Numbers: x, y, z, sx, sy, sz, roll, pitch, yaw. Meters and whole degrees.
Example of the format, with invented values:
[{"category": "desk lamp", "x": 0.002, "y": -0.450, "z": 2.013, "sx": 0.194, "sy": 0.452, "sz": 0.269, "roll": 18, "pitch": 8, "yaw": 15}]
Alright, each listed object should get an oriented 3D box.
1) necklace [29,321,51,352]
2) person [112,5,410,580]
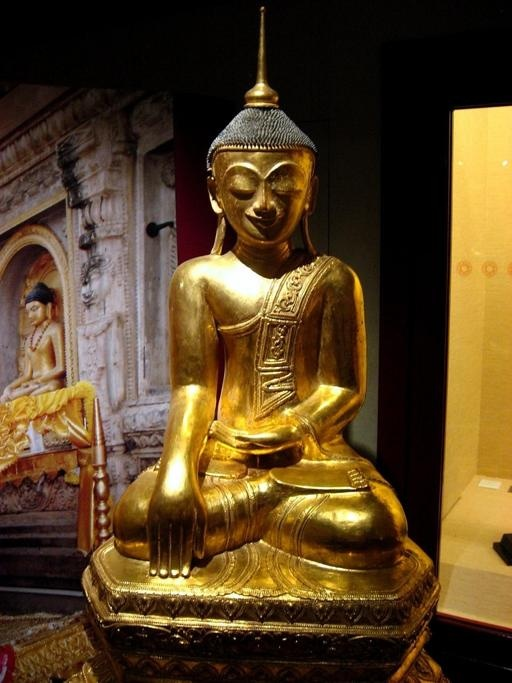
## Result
[{"category": "necklace", "x": -0.796, "y": -0.014, "z": 3.591, "sx": 0.059, "sy": 0.101, "sz": 0.036, "roll": 26, "pitch": -16, "yaw": -4}, {"category": "person", "x": -0.019, "y": -0.191, "z": 2.834, "sx": 0.805, "sy": 1.622, "sz": 0.640, "roll": -1, "pitch": 3, "yaw": -9}]
